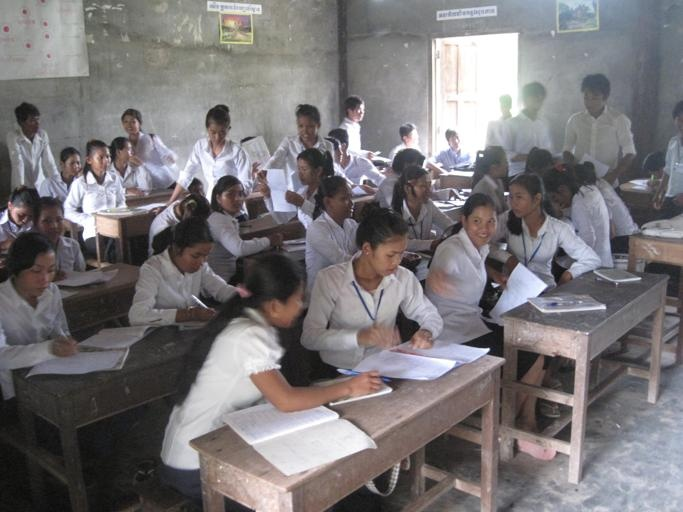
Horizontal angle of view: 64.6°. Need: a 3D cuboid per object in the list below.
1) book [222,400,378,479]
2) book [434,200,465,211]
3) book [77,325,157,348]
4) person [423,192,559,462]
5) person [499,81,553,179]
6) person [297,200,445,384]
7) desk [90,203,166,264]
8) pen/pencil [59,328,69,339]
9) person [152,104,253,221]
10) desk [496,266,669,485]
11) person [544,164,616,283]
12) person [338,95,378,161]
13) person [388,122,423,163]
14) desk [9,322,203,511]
[{"bbox_3d":[-0.182,0.584,1.828,0.360,0.067,0.490,-16,-18,-3],"label":"book"},{"bbox_3d":[0.989,-0.470,4.945,0.198,0.046,0.190,-9,13,-42],"label":"book"},{"bbox_3d":[-1.041,0.377,2.474,0.128,0.025,0.144,6,24,17],"label":"book"},{"bbox_3d":[0.829,0.344,2.954,0.804,1.279,0.570,8,9,32],"label":"person"},{"bbox_3d":[2.137,-1.195,6.197,0.597,1.535,0.455,-5,25,4],"label":"person"},{"bbox_3d":[0.140,0.367,2.458,0.619,1.150,0.534,6,23,5],"label":"person"},{"bbox_3d":[-2.012,-0.312,4.977,0.483,0.631,0.677,10,16,30],"label":"desk"},{"bbox_3d":[-1.365,0.378,2.632,0.029,0.015,0.043,11,12,-35],"label":"pen/pencil"},{"bbox_3d":[-1.329,-0.691,5.392,0.793,1.502,0.777,3,0,-37],"label":"person"},{"bbox_3d":[1.250,0.637,2.820,0.332,0.584,0.907,12,20,41],"label":"desk"},{"bbox_3d":[1.709,-0.161,3.995,0.571,1.015,0.484,9,29,36],"label":"person"},{"bbox_3d":[0.210,-1.543,7.270,0.408,1.163,0.407,18,41,23],"label":"person"},{"bbox_3d":[0.907,-1.520,7.186,0.357,0.512,0.732,6,29,25],"label":"person"},{"bbox_3d":[-1.016,0.678,2.270,0.268,0.416,0.798,6,12,24],"label":"desk"}]
